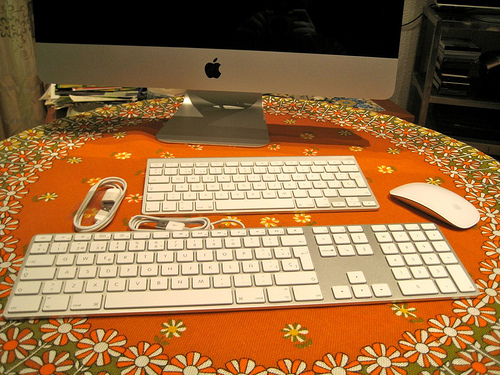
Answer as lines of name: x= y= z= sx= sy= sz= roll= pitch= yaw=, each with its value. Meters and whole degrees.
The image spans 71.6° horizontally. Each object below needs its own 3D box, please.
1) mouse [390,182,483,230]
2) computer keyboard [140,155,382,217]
mouse: x=0.355 y=0.026 z=0.676 sx=0.087 sy=0.023 sz=0.131 roll=-22 pitch=42 yaw=-40
computer keyboard: x=0.015 y=-0.008 z=0.723 sx=0.473 sy=0.081 sz=0.175 roll=1 pitch=22 yaw=-5
